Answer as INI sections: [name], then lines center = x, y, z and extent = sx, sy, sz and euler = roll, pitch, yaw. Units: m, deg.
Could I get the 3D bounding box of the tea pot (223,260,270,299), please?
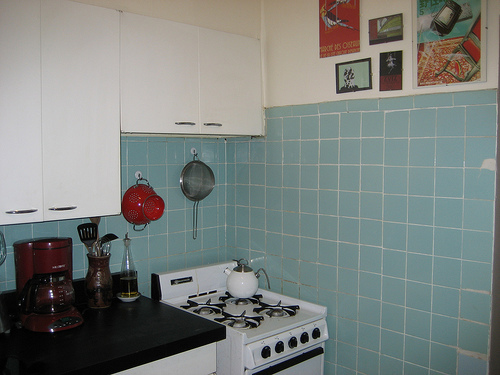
[tea pot]
center = -0.016, 0.596, 2.615
extent = 0.277, 0.223, 0.199
euler = 7, -5, 4

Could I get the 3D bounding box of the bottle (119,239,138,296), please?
[bottle]
center = -0.739, 0.470, 2.398
extent = 0.106, 0.375, 0.165
euler = -1, 7, -42

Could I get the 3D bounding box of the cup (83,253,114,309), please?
[cup]
center = -0.862, 0.530, 2.290
extent = 0.147, 0.287, 0.133
euler = 2, 5, -21

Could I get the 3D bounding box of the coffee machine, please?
[coffee machine]
center = -1.012, 0.488, 2.187
extent = 0.391, 0.493, 0.361
euler = -1, -1, 36

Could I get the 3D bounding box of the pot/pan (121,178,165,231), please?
[pot/pan]
center = -0.648, 0.100, 2.448
extent = 0.222, 0.342, 0.115
euler = -11, 6, -44
